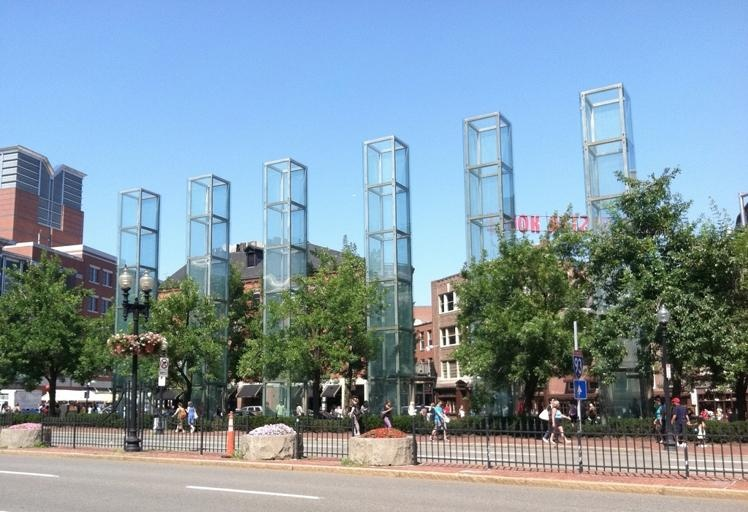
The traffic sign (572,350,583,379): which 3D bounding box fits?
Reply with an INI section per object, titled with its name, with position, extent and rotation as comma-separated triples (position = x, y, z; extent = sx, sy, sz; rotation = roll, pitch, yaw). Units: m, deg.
[traffic sign]
position = 7.763, 4.089, 32.510
extent = 0.263, 1.110, 0.846
rotation = -6, -13, 22
